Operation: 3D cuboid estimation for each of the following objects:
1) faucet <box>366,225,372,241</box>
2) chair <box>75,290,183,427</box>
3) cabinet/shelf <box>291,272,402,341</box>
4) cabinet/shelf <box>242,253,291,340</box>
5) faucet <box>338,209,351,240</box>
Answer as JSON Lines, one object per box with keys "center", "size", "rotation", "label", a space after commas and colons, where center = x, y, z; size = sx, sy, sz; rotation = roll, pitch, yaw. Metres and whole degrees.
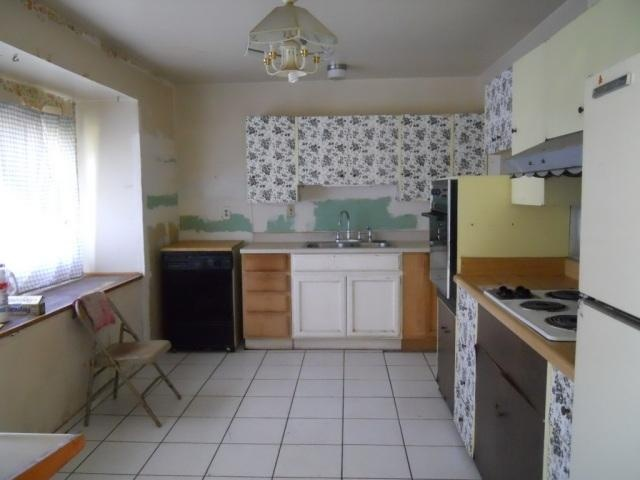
{"center": [0.522, -0.056, 4.840], "size": [0.053, 0.153, 0.066], "rotation": [-1, 9, -1], "label": "faucet"}
{"center": [-1.419, 0.835, 3.429], "size": [0.549, 0.906, 0.506], "rotation": [-2, 5, 6], "label": "chair"}
{"center": [0.257, 0.506, 4.601], "size": [1.095, 0.728, 0.585], "rotation": [0, -1, 2], "label": "cabinet/shelf"}
{"center": [-0.519, 0.515, 4.738], "size": [0.488, 0.934, 0.603], "rotation": [0, 12, -2], "label": "cabinet/shelf"}
{"center": [0.261, -0.151, 4.846], "size": [0.144, 0.306, 0.097], "rotation": [0, 9, 5], "label": "faucet"}
